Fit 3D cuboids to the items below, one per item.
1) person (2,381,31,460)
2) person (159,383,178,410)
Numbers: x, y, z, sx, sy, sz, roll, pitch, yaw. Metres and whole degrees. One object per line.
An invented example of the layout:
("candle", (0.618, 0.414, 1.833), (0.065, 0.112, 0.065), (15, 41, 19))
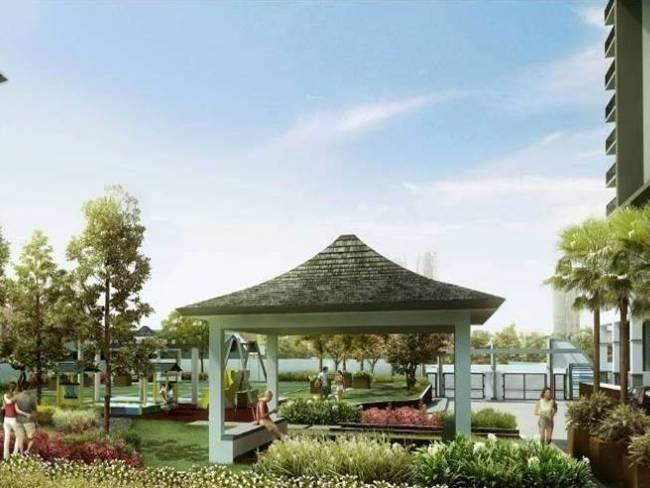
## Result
("person", (-9.366, 5.306, 18.866), (0.725, 2.177, 1.494), (6, -13, -30))
("person", (-7.505, 7.260, 29.928), (0.683, 1.329, 1.333), (2, -12, -11))
